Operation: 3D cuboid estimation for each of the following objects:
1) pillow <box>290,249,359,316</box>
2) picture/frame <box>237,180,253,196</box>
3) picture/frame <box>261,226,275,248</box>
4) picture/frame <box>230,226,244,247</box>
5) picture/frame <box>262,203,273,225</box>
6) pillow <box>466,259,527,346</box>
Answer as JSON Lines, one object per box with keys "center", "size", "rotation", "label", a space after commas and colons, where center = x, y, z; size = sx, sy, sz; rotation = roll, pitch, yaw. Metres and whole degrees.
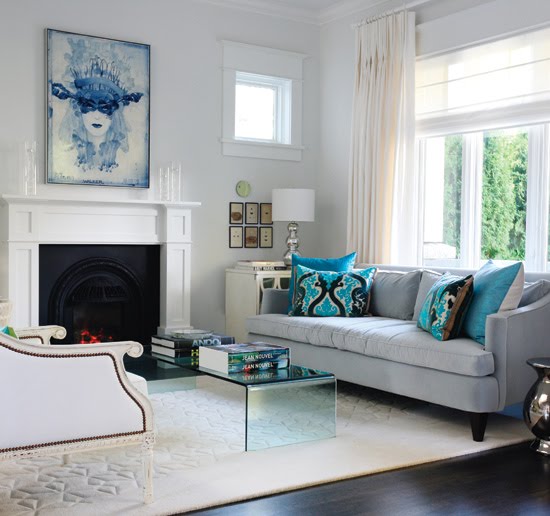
{"center": [0.381, 0.208, 3.944], "size": [0.487, 0.496, 0.187], "rotation": [1, -8, 7], "label": "pillow"}
{"center": [-0.295, -0.719, 5.209], "size": [0.147, 0.151, 0.029], "rotation": [13, -2, -35], "label": "picture/frame"}
{"center": [-0.086, -0.223, 5.411], "size": [0.177, 0.241, 0.037], "rotation": [2, -2, -38], "label": "picture/frame"}
{"center": [-0.407, -0.225, 5.227], "size": [0.206, 0.291, 0.028], "rotation": [-1, 1, -31], "label": "picture/frame"}
{"center": [-0.080, -0.477, 5.376], "size": [0.138, 0.242, 0.168], "rotation": [1, -1, 0], "label": "picture/frame"}
{"center": [1.200, 0.259, 2.751], "size": [0.206, 0.404, 0.431], "rotation": [0, -1, -3], "label": "pillow"}
